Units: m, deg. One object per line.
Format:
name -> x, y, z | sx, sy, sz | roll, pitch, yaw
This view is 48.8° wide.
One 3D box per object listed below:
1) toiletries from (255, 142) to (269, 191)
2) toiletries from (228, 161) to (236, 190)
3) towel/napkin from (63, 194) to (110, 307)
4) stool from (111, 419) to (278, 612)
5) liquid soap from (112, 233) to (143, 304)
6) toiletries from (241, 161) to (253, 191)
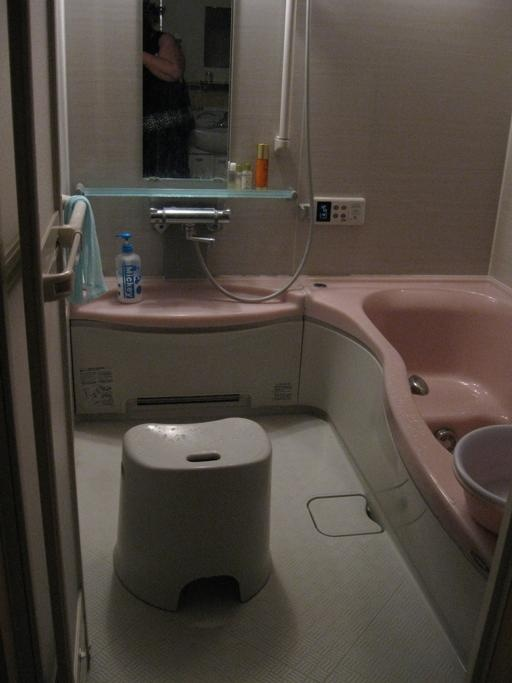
toiletries -> 0.019, -0.711, 2.297 | 0.050, 0.171, 0.052 | 2, 19, 7
toiletries -> -0.100, -0.675, 2.296 | 0.042, 0.127, 0.047 | 4, 35, -2
towel/napkin -> -0.618, -0.292, 2.014 | 0.094, 0.445, 0.458 | -10, 7, -16
stool -> -0.156, 0.389, 1.501 | 0.453, 0.450, 0.377 | -1, 20, -8
liquid soap -> -0.528, -0.314, 2.320 | 0.107, 0.275, 0.195 | -5, 20, -12
toiletries -> -0.040, -0.670, 2.292 | 0.040, 0.098, 0.064 | 4, 20, 13
